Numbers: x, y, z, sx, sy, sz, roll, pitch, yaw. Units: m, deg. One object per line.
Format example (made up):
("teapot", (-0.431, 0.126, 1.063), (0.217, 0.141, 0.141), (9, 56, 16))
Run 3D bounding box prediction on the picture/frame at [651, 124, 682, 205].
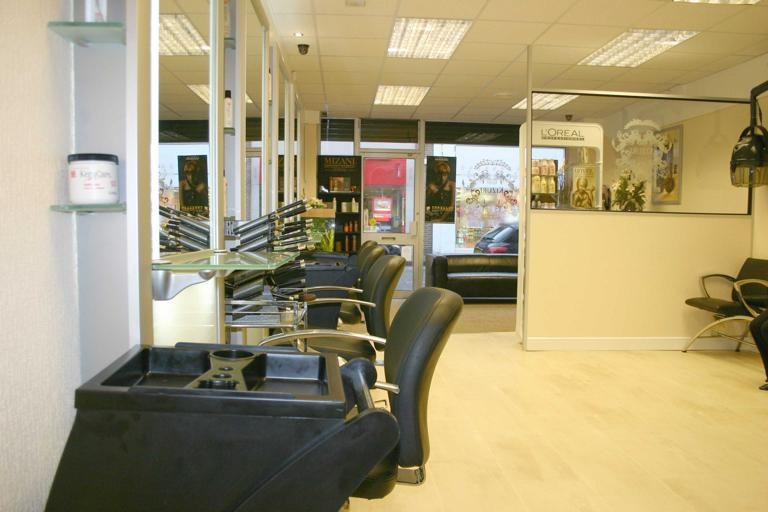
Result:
("picture/frame", (2.782, -0.906, 5.770), (0.016, 0.740, 0.294), (-22, 22, -40))
